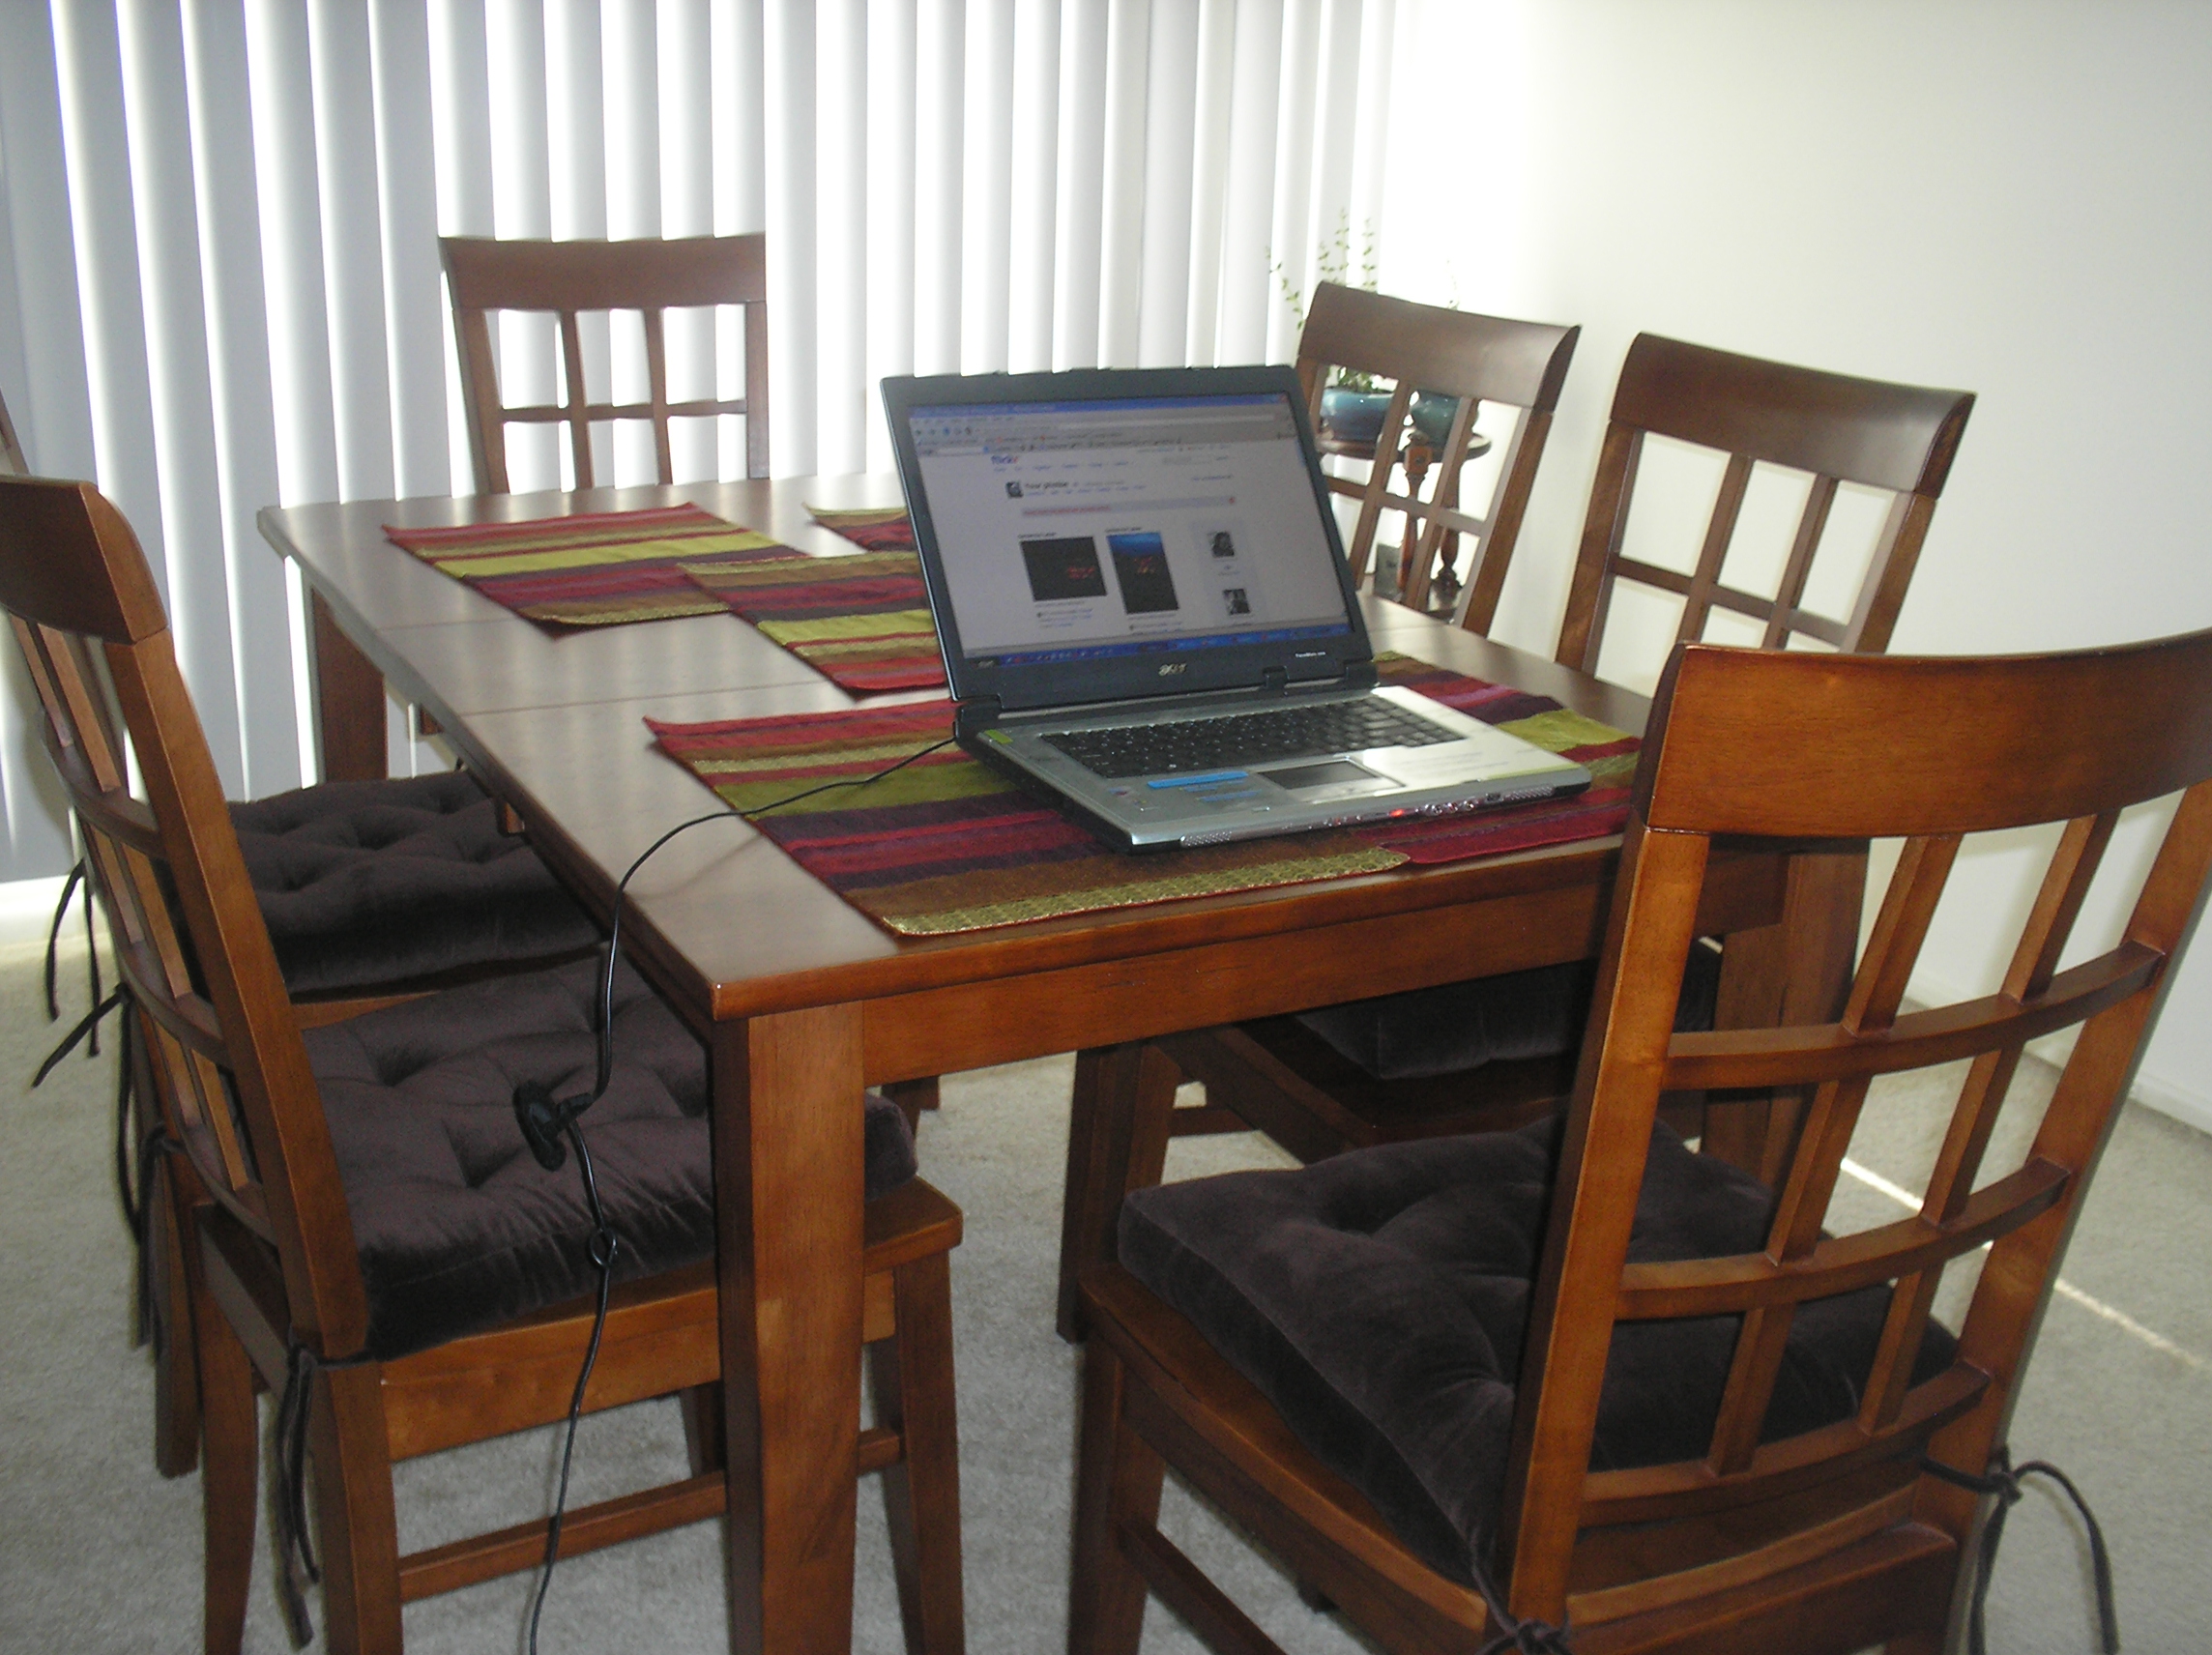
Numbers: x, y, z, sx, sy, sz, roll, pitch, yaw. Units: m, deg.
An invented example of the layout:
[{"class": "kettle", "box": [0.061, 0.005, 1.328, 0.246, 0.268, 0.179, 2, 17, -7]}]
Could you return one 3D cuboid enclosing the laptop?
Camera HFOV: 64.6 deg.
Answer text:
[{"class": "laptop", "box": [0.093, -0.187, 1.422, 0.465, 0.271, 0.481, -19, 35, -39]}]
